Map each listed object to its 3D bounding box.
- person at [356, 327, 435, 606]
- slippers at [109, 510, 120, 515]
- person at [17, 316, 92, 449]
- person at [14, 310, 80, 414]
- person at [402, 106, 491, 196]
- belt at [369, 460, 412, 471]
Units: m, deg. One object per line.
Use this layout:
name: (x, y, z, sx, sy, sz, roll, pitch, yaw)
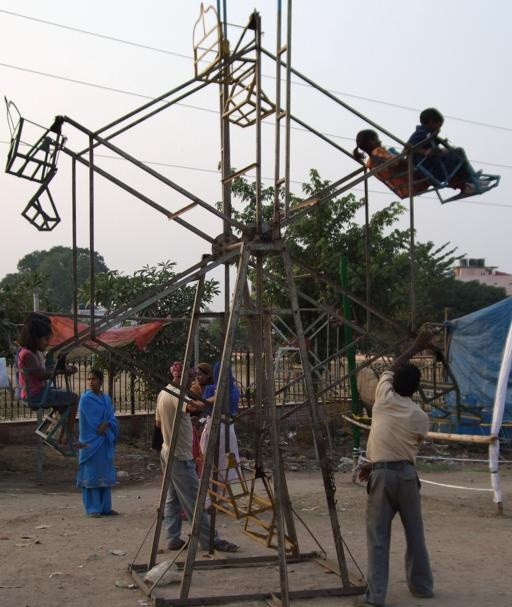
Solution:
person: (1.035, 1.230, 6.772, 0.696, 2.052, 0.420, 3, -6, -39)
slippers: (-1.633, 2.419, 10.180, 0.116, 0.048, 0.043, -8, -11, 34)
person: (-1.720, 0.651, 7.412, 0.510, 1.073, 0.495, -3, 9, -27)
person: (-1.737, 0.618, 7.447, 0.552, 0.980, 0.430, -2, 5, -31)
person: (1.639, -1.331, 7.706, 0.362, 0.669, 0.885, -4, -7, 39)
belt: (1.039, 1.242, 6.752, 0.311, 0.079, 0.159, -1, -6, 11)
